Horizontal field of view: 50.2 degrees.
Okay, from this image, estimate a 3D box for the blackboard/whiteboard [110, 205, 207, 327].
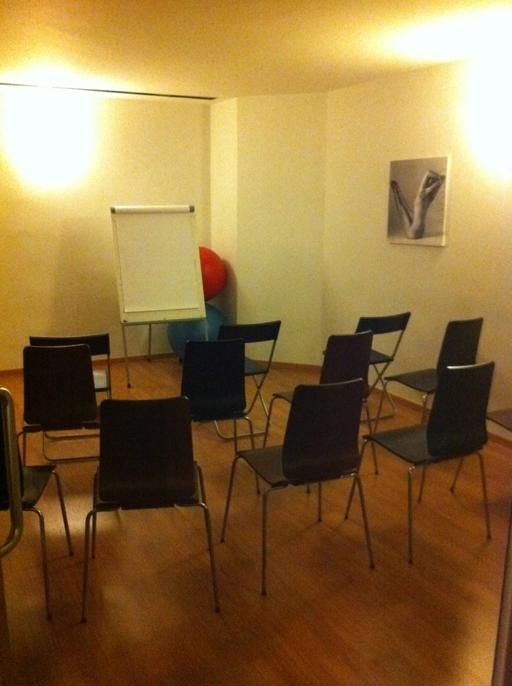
[{"bbox_3d":[-0.923,-0.739,5.142,0.806,1.262,0.115,-3,-20,-19],"label":"blackboard/whiteboard"}]
